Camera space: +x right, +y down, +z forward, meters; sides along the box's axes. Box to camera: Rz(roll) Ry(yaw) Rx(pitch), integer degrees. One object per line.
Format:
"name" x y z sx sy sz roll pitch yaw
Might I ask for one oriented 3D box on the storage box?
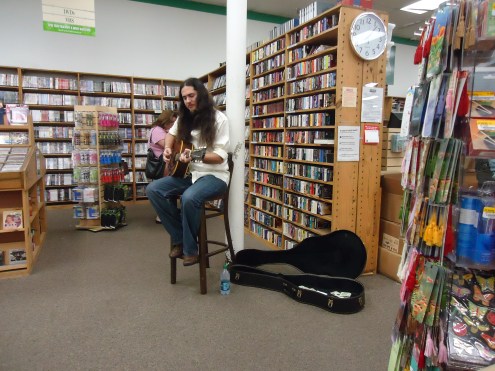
"storage box" 1.482 0.421 3.663 0.243 1.028 0.427 4 11 21

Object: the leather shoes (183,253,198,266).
"leather shoes" -0.528 0.690 3.210 0.061 0.084 0.175 -2 -6 17

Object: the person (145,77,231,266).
"person" -0.567 -0.173 3.380 0.759 1.684 0.753 1 11 4

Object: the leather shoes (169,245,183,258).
"leather shoes" -0.689 0.630 3.391 0.127 0.128 0.217 -2 12 -11

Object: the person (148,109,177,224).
"person" -1.166 -0.472 5.031 0.136 1.146 0.464 3 2 -26

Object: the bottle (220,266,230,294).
"bottle" -0.219 0.874 3.403 0.098 0.234 0.306 -1 12 -5
